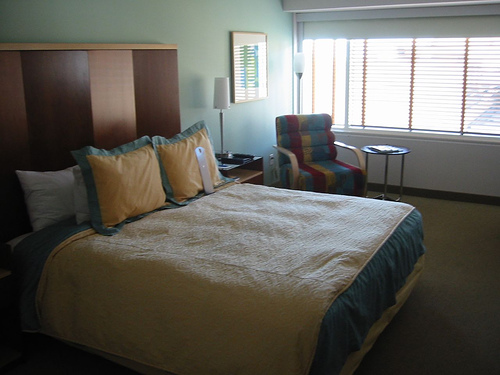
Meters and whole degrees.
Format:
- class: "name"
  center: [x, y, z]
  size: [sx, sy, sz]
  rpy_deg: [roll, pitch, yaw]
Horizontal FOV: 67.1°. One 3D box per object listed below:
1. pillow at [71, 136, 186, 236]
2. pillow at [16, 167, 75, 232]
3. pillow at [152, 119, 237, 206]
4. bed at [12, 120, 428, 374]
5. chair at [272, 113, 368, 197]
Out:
- class: "pillow"
  center: [-0.899, 0.009, 2.710]
  size: [0.234, 0.499, 0.606]
  rpy_deg: [8, 15, 28]
- class: "pillow"
  center: [-1.365, 0.078, 2.682]
  size: [0.184, 0.331, 0.401]
  rpy_deg: [-10, -7, 33]
- class: "pillow"
  center: [-0.501, -0.179, 3.086]
  size: [0.187, 0.659, 0.657]
  rpy_deg: [-16, 3, 34]
- class: "bed"
  center: [-0.241, 0.391, 2.568]
  size: [2.429, 1.273, 1.633]
  rpy_deg: [6, 18, 21]
- class: "chair"
  center: [0.849, -0.324, 4.748]
  size: [1.029, 1.135, 1.041]
  rpy_deg: [-4, 16, -1]
